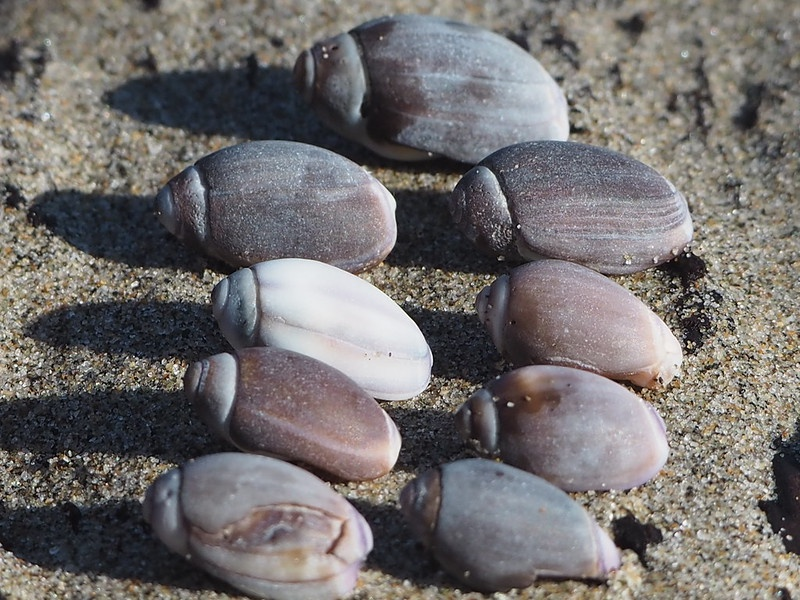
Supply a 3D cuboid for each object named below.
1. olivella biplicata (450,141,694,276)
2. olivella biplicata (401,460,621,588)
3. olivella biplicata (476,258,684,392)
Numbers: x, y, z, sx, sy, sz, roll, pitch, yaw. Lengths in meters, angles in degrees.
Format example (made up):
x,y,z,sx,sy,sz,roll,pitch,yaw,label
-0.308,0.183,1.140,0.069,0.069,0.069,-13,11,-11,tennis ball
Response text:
x,y,z,sx,sy,sz,roll,pitch,yaw,label
0.273,-0.144,1.648,0.294,0.143,0.207,3,39,-2,olivella biplicata
0.151,0.309,1.451,0.275,0.069,0.207,-16,79,-5,olivella biplicata
0.274,0.036,1.581,0.260,0.165,0.149,34,48,-8,olivella biplicata
